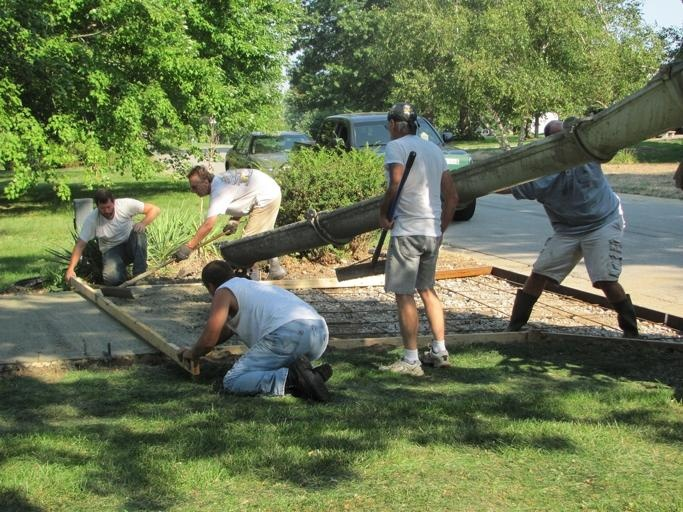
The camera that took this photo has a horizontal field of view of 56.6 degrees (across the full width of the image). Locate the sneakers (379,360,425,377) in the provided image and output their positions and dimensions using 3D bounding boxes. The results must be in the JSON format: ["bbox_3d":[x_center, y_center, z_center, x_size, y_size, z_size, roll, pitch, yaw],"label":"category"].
[{"bbox_3d":[0.545,0.968,5.432,0.432,0.116,0.131,2,-3,3],"label":"sneakers"}]

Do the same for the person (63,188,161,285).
[{"bbox_3d":[-2.793,-0.224,7.809,0.554,1.214,1.112,5,15,17],"label":"person"}]

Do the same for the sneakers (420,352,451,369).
[{"bbox_3d":[0.815,0.913,5.623,0.110,0.110,0.298,-18,20,-41],"label":"sneakers"}]

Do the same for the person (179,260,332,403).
[{"bbox_3d":[-0.582,0.571,5.501,1.135,0.931,1.778,-9,10,-34],"label":"person"}]

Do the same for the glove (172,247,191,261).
[{"bbox_3d":[-1.878,-0.019,7.459,0.221,0.127,0.134,-24,3,18],"label":"glove"}]

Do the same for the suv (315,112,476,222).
[{"bbox_3d":[0.926,-2.302,14.221,2.466,1.554,4.526,-6,12,-29],"label":"suv"}]

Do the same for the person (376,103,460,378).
[{"bbox_3d":[0.664,-0.141,5.440,0.622,2.296,0.760,2,16,8],"label":"person"}]

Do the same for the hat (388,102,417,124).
[{"bbox_3d":[0.514,-1.229,5.457,0.226,0.100,0.214,-8,12,-37],"label":"hat"}]

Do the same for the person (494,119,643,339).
[{"bbox_3d":[2.209,-0.028,5.992,1.258,1.719,0.455,5,17,19],"label":"person"}]
